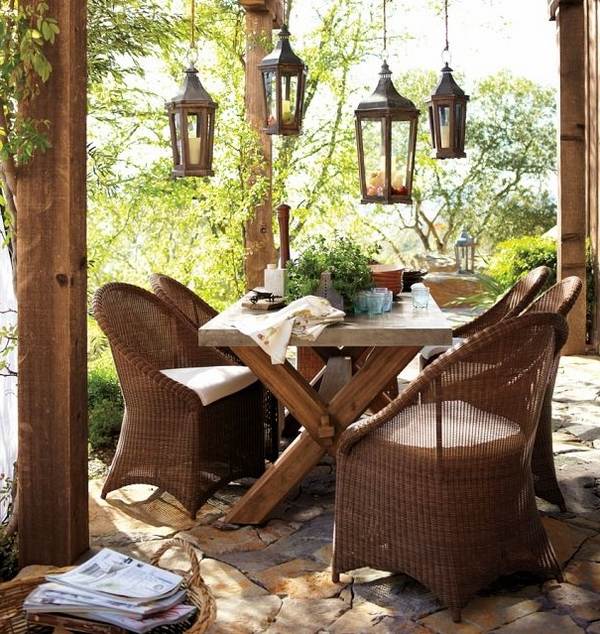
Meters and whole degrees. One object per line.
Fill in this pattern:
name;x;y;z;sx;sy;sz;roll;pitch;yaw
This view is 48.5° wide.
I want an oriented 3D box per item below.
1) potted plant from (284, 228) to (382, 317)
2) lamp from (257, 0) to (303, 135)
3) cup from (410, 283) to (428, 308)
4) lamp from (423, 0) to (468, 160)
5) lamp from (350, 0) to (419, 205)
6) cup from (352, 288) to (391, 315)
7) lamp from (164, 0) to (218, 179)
potted plant;0.158;-0.211;3.073;0.396;0.278;0.392;9;18;15
lamp;-0.089;-1.167;3.264;0.229;0.562;0.209;-3;8;1
cup;0.562;-0.095;2.979;0.121;0.109;0.108;0;-4;-4
lamp;0.876;-1.237;4.000;0.226;0.580;0.268;-2;8;5
lamp;0.363;-0.784;2.807;0.229;0.624;0.276;3;10;34
cup;0.299;-0.069;2.793;0.124;0.076;0.138;-1;-1;6
lamp;-0.528;-0.968;3.262;0.232;0.560;0.230;-5;9;-15
